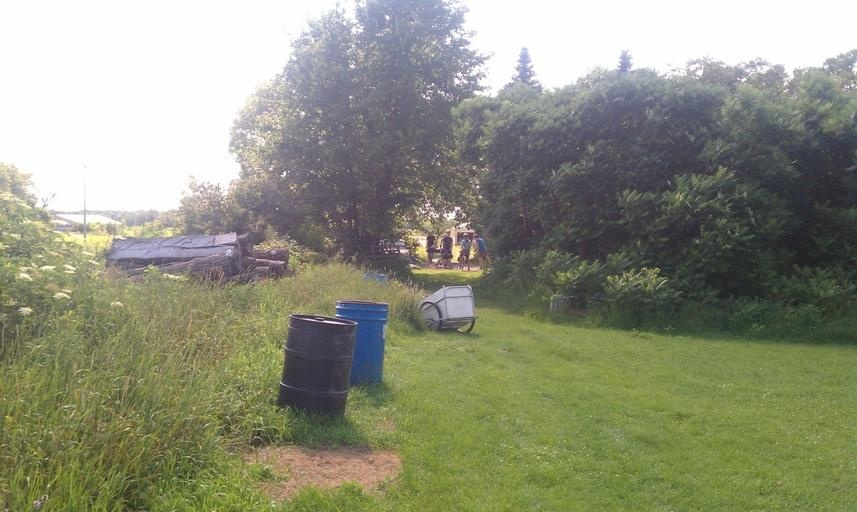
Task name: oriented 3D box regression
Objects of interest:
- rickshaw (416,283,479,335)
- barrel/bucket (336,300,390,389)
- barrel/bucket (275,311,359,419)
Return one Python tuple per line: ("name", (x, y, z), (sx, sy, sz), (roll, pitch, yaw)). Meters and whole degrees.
("rickshaw", (0.540, 1.785, 21.710), (1.275, 1.362, 1.774), (2, -9, -26))
("barrel/bucket", (-1.611, 2.062, 15.871), (1.628, 1.932, 1.661), (1, 1, 0))
("barrel/bucket", (-2.344, 2.344, 14.213), (1.423, 2.253, 1.326), (2, 1, 0))
